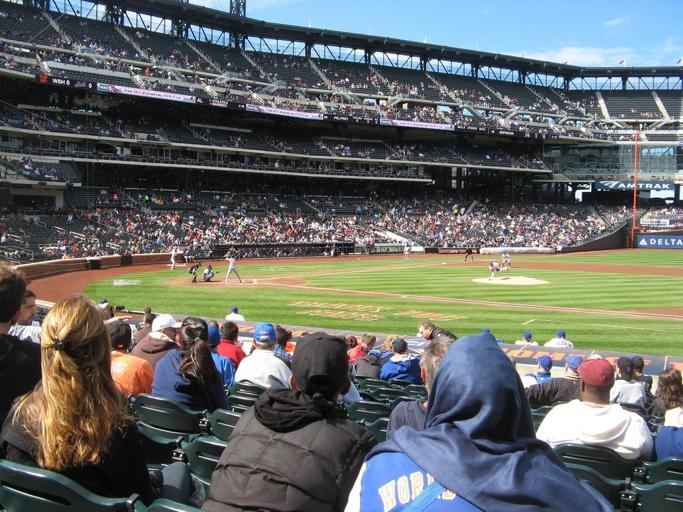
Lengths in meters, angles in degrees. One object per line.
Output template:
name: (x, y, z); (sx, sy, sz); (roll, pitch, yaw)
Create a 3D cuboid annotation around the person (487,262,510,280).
person: (8.045, 0.788, 35.210); (1.668, 0.672, 0.670); (-5, 8, -39)

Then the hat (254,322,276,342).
hat: (-0.881, 0.886, 7.874); (0.182, 0.136, 0.271); (1, 10, -3)

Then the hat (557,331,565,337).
hat: (4.503, 1.615, 14.076); (0.165, 0.138, 0.242); (-2, 13, 8)
